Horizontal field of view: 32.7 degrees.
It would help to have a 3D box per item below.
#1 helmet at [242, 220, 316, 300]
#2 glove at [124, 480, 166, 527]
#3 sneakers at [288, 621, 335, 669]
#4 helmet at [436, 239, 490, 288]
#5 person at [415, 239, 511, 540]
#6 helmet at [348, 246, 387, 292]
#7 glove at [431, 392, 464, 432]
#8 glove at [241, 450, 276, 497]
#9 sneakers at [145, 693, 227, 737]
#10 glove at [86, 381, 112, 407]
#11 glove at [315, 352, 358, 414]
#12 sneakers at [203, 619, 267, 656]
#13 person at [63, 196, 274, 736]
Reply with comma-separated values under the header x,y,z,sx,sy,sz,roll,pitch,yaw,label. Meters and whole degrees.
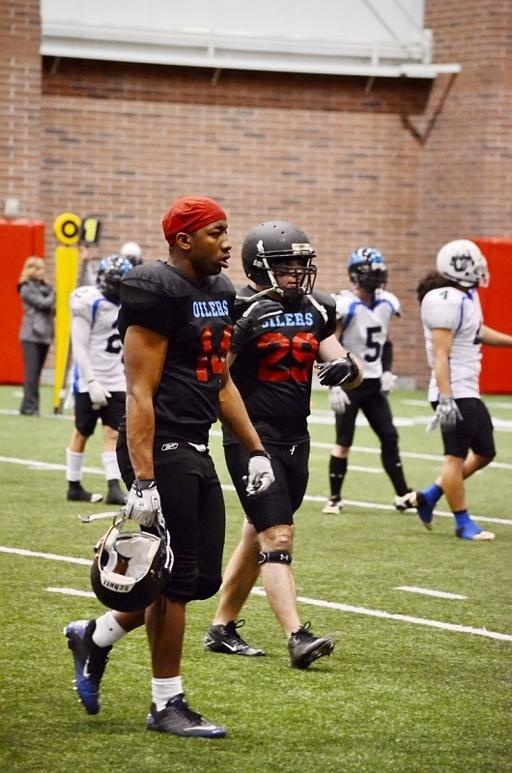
x,y,z,sx,sy,sz,roll,pitch,yaw,label
0.086,-0.501,3.433,0.350,0.295,0.287,4,7,33,helmet
-0.306,0.323,2.380,0.102,0.115,0.128,6,-12,-14,glove
0.193,0.984,3.243,0.143,0.203,0.153,5,4,-15,sneakers
1.394,-0.841,5.954,0.407,0.328,0.270,0,25,5,helmet
1.421,0.018,6.002,0.732,1.386,0.801,8,4,9,person
0.854,-0.906,6.883,0.369,0.317,0.159,-8,-4,-18,helmet
1.276,0.173,5.758,0.245,0.299,0.118,-10,15,-18,glove
0.023,0.304,3.037,0.115,0.062,0.151,14,13,-22,glove
-0.211,0.971,2.567,0.265,0.105,0.089,-2,-12,25,sneakers
-1.158,0.063,6.487,0.158,0.182,0.071,-8,-4,-15,glove
0.282,0.014,3.517,0.148,0.279,0.237,-2,-2,32,glove
-0.050,1.027,3.525,0.309,0.160,0.101,7,-21,7,sneakers
-0.274,0.245,2.664,0.455,1.646,0.617,6,5,-9,person
